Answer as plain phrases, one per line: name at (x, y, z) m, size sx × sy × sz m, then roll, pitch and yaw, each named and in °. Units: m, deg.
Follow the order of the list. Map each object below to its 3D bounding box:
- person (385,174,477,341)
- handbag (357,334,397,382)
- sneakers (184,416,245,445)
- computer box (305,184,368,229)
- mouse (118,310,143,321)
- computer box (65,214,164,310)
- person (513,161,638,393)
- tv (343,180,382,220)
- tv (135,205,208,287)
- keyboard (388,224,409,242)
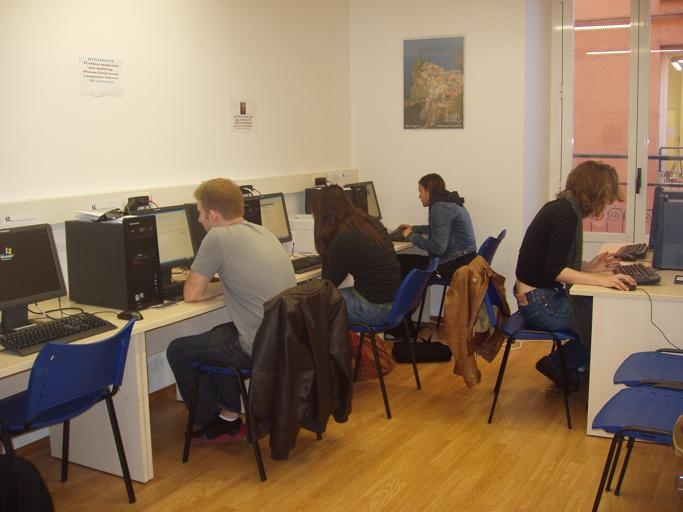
person at (0.851, -0.185, 4.523) m, size 0.871 × 1.462 × 0.615 m, roll 6°, pitch 14°, yaw 29°
handbag at (0.227, 0.671, 3.819) m, size 0.245 × 0.356 × 0.096 m, roll 5°, pitch -6°, yaw -24°
sneakers at (-0.718, 0.993, 3.159) m, size 0.314 × 0.159 × 0.125 m, roll 1°, pitch -3°, yaw -8°
computer box at (-0.041, -0.345, 3.853) m, size 0.350 × 0.299 × 0.222 m, roll 5°, pitch 14°, yaw 17°
mouse at (-1.034, 0.291, 2.732) m, size 0.105 × 0.039 × 0.067 m, roll 6°, pitch 7°, yaw 18°
computer box at (-1.235, 0.015, 3.000) m, size 0.412 × 0.492 × 0.278 m, roll 2°, pitch 9°, yaw 16°
person at (1.461, 0.139, 3.434) m, size 0.622 × 1.441 × 0.643 m, roll 0°, pitch 4°, yaw 14°
tv at (0.258, -0.469, 5.007) m, size 0.152 × 0.367 × 0.475 m, roll -13°, pitch 8°, yaw -21°
tv at (-0.965, -0.063, 3.124) m, size 0.127 × 0.440 × 0.407 m, roll -1°, pitch -9°, yaw 23°
keyboard at (0.505, -0.190, 4.780) m, size 0.153 × 0.052 × 0.177 m, roll -10°, pitch 7°, yaw 2°
